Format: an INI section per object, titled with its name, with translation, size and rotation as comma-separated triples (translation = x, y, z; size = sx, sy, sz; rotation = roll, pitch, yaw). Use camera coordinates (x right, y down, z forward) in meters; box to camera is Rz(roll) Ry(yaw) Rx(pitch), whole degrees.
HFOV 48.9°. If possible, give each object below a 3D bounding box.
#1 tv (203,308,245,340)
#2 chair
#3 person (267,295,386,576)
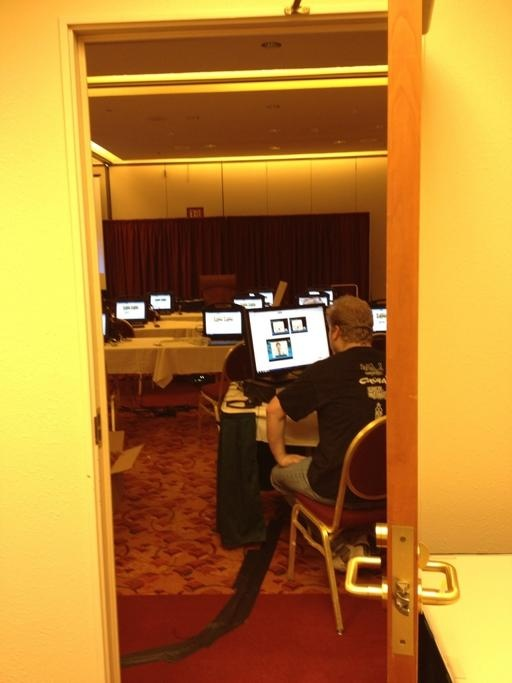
[tv]
translation = -0.303, -0.155, 5.060
size = 0.372, 0.291, 0.272
rotation = 0, 5, 3
[chair]
translation = 0.355, 0.621, 2.150
size = 0.436, 0.720, 0.464
rotation = 0, 3, -9
[person]
translation = 0.310, 0.427, 2.440
size = 0.616, 1.198, 0.551
rotation = 0, 1, 29
